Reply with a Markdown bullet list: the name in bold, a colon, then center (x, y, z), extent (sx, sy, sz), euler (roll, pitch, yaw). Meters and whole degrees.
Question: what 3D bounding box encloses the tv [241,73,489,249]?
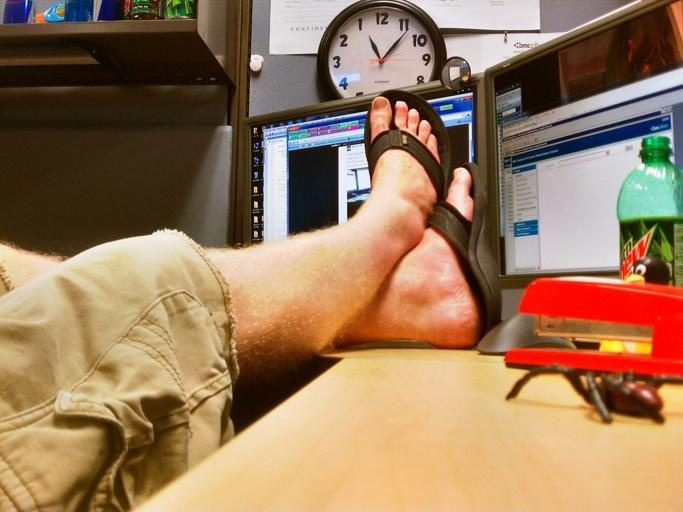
- **tv**: center (0.044, -0.150, 0.932), extent (0.286, 0.226, 0.022), euler (-7, -11, 19)
